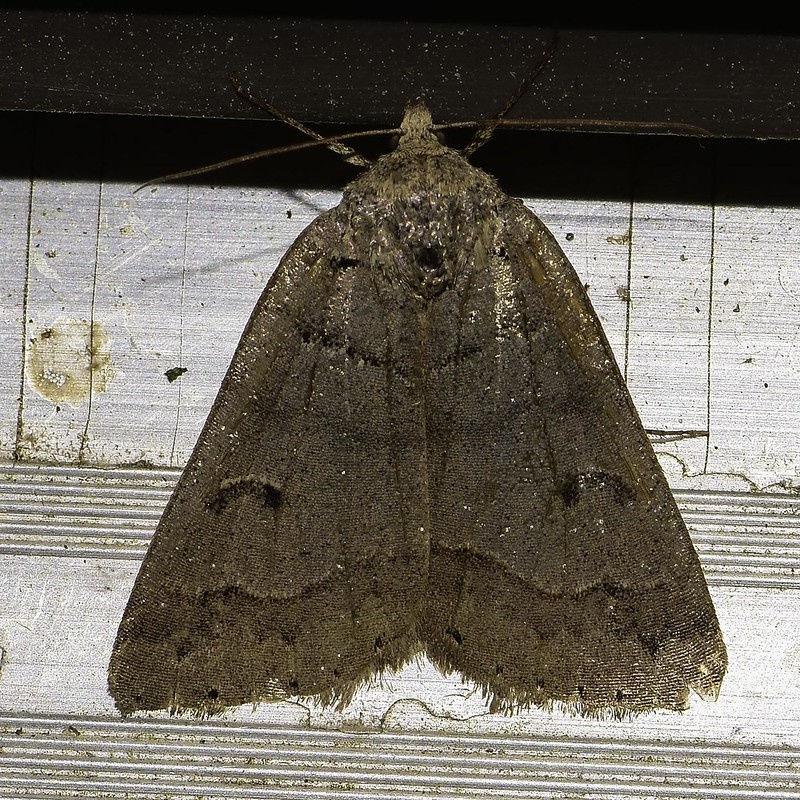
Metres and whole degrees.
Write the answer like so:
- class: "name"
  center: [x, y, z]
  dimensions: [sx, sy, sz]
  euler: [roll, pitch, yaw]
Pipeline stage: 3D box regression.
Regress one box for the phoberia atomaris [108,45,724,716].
- class: "phoberia atomaris"
  center: [0.141, -0.042, 8.897]
  dimensions: [1.702, 2.079, 0.468]
  euler: [-1, 3, 2]
